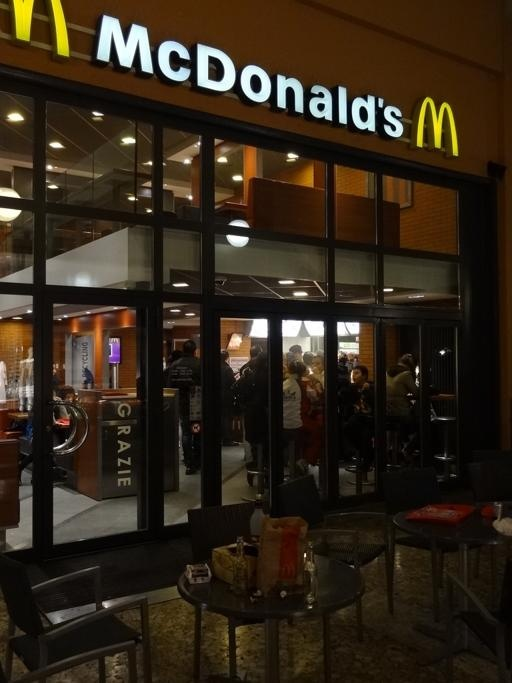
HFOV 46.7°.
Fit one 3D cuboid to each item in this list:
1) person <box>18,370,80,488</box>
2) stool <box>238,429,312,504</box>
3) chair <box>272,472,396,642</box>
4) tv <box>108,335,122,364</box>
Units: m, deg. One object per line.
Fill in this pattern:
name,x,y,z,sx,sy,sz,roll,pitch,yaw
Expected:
person,-1.687,0.664,5.056,0.619,1.187,0.605,0,1,-22
stool,0.158,1.152,5.970,0.616,0.779,0.672,-1,7,-5
chair,0.491,1.229,3.424,0.566,0.733,0.584,-3,-9,10
tv,-2.853,0.204,11.887,0.253,0.553,0.960,-1,-1,-14
